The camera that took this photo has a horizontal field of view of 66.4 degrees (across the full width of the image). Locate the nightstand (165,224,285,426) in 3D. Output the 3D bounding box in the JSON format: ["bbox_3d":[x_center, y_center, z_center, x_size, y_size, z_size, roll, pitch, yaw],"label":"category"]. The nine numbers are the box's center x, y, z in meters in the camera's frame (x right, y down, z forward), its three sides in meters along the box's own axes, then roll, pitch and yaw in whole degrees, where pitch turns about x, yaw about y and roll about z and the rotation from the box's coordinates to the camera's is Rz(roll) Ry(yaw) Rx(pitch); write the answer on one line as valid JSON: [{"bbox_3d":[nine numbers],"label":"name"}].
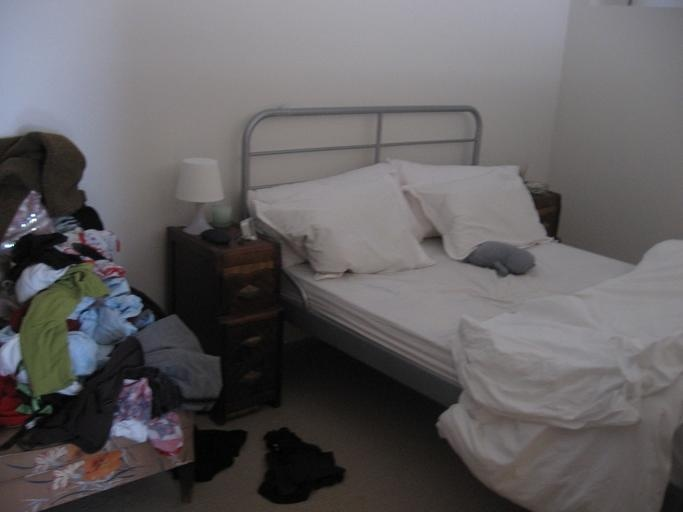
[{"bbox_3d":[-0.527,0.300,2.586,0.440,0.822,0.564,-14,27,-28],"label":"nightstand"}]

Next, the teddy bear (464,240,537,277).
[{"bbox_3d":[0.829,0.003,2.732,0.260,0.089,0.182,8,19,33],"label":"teddy bear"}]

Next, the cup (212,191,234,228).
[{"bbox_3d":[-0.587,-0.246,2.701,0.163,0.164,0.152,5,23,-2],"label":"cup"}]

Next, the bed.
[{"bbox_3d":[0.340,0.054,2.963,1.723,1.272,1.888,-14,29,-30],"label":"bed"}]
